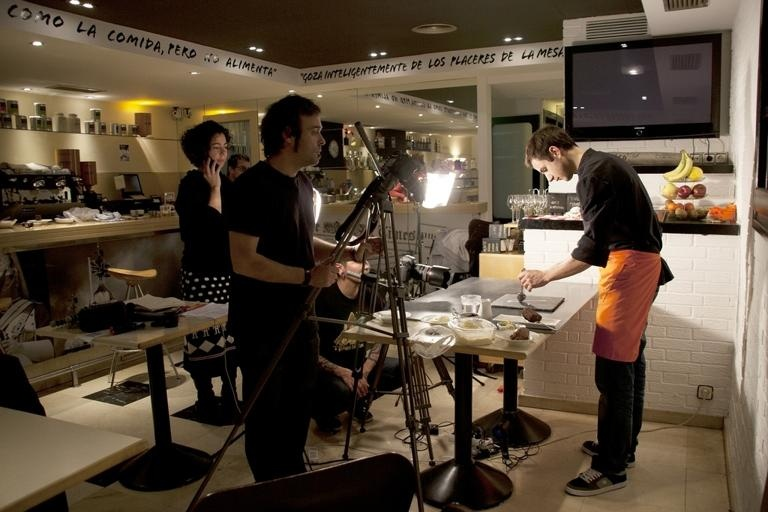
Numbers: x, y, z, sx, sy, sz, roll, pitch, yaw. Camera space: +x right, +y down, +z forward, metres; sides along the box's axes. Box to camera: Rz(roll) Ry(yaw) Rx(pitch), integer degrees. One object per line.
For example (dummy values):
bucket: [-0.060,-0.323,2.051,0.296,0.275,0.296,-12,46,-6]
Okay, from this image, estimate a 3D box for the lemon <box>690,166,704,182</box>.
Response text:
lemon: [2.679,-0.706,4.615,0.101,0.132,0.148,4,12,32]

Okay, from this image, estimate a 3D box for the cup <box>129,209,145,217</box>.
cup: [-3.435,-0.600,7.458,0.115,0.067,0.153,0,0,-9]

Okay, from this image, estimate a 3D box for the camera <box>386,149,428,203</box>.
camera: [0.092,-0.401,2.818,0.258,0.188,0.117,-42,19,40]

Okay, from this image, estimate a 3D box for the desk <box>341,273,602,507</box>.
desk: [0.668,0.500,3.762,1.347,1.167,2.470,1,5,24]

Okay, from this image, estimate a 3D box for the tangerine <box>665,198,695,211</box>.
tangerine: [2.441,-0.425,4.468,0.227,0.088,0.138,6,12,33]

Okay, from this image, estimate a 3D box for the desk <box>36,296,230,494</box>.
desk: [-1.776,0.910,4.267,1.343,1.211,1.350,5,11,31]

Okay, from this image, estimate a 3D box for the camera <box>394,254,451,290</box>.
camera: [0.224,0.097,3.236,0.294,0.138,0.181,8,12,36]

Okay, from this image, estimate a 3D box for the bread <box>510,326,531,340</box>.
bread: [0.772,0.430,3.066,0.079,0.032,0.077,-14,13,-30]

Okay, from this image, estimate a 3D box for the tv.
tv: [2.314,-1.485,4.711,1.340,0.845,0.136,1,10,16]

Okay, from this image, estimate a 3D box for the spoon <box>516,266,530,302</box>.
spoon: [0.941,0.233,3.696,0.080,0.317,0.056,7,24,28]

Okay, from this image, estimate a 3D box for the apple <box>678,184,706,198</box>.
apple: [2.610,-0.545,4.574,0.213,0.104,0.117,-7,1,-8]

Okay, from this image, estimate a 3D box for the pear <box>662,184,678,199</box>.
pear: [2.450,-0.559,4.683,0.116,0.128,0.133,-20,4,18]

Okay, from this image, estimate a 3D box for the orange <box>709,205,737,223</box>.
orange: [2.742,-0.340,4.364,0.191,0.076,0.185,0,2,11]

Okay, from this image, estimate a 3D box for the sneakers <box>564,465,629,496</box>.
sneakers: [1.429,1.539,3.716,0.461,0.168,0.151,1,-2,-7]

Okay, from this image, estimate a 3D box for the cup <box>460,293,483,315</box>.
cup: [0.558,0.314,3.458,0.091,0.113,0.135,1,11,8]

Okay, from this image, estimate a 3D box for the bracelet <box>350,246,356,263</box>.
bracelet: [-0.184,-0.001,3.184,0.027,0.071,0.054,7,11,-8]

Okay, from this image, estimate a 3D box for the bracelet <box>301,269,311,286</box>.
bracelet: [-0.402,0.108,2.850,0.054,0.070,0.082,11,11,10]

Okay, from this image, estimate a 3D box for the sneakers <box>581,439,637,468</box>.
sneakers: [1.653,1.447,4.036,0.153,0.166,0.431,-3,10,-21]

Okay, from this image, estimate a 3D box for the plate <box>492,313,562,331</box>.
plate: [0.867,0.404,3.285,0.405,0.054,0.294,2,11,21]

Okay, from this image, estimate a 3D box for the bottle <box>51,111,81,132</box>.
bottle: [-4.168,-1.736,7.049,0.125,0.231,0.416,2,11,24]

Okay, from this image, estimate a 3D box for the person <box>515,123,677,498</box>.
person: [1.449,0.352,3.650,0.897,2.447,0.653,2,12,23]
